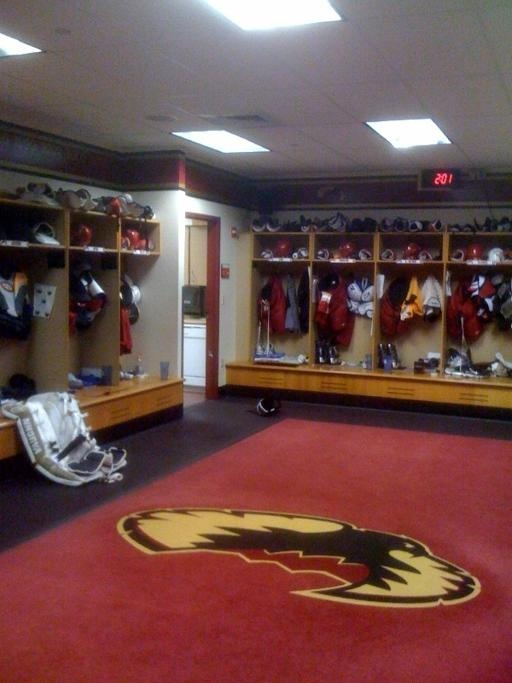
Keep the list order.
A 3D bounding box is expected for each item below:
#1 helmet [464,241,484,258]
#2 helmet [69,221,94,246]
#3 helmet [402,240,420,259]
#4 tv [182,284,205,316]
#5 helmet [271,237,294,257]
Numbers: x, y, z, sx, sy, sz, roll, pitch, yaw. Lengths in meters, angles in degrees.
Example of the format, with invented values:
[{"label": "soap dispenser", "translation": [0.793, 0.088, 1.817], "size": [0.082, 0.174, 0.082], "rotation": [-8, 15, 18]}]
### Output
[{"label": "helmet", "translation": [2.870, -1.193, 6.444], "size": [0.233, 0.306, 0.297], "rotation": [-3, 8, 5]}, {"label": "helmet", "translation": [-1.700, -1.044, 4.755], "size": [0.204, 0.258, 0.533], "rotation": [0, 0, -19]}, {"label": "helmet", "translation": [2.123, -1.234, 6.610], "size": [0.219, 0.254, 0.460], "rotation": [0, 0, 18]}, {"label": "tv", "translation": [-0.940, -0.625, 7.615], "size": [0.442, 0.672, 0.374], "rotation": [1, 4, -7]}, {"label": "helmet", "translation": [0.410, -1.405, 7.236], "size": [0.339, 0.498, 0.265], "rotation": [1, 2, 3]}]
